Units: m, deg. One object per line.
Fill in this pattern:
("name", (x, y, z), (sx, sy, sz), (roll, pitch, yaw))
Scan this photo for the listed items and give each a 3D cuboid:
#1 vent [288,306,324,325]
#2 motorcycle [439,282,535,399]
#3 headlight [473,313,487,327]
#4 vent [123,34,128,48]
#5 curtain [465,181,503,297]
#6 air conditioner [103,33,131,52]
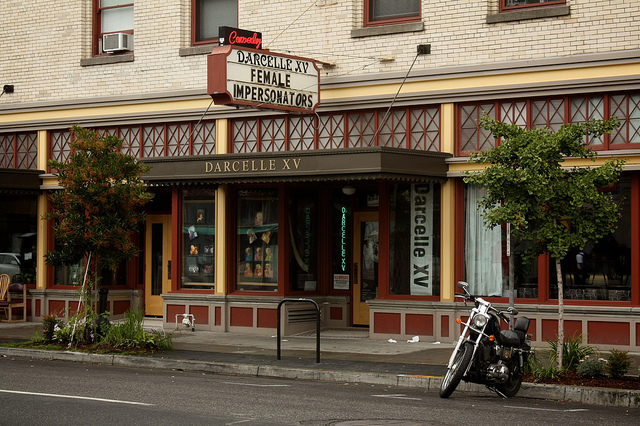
("vent", (-0.470, 2.767, 23.130), (0.149, 0.465, 1.081), (-3, -6, 39))
("motorcycle", (3.126, 2.363, 15.855), (1.816, 2.123, 0.689), (4, -5, -33))
("headlight", (2.918, 1.931, 15.566), (0.247, 0.226, 0.113), (0, -5, 9))
("vent", (-5.709, -5.053, 25.038), (0.149, 0.380, 0.023), (4, -6, -42))
("curtain", (4.030, 0.632, 21.156), (0.890, 2.794, 0.395), (-3, -6, 40))
("air conditioner", (-5.954, -5.107, 25.185), (0.837, 0.624, 0.471), (2, 2, 36))
